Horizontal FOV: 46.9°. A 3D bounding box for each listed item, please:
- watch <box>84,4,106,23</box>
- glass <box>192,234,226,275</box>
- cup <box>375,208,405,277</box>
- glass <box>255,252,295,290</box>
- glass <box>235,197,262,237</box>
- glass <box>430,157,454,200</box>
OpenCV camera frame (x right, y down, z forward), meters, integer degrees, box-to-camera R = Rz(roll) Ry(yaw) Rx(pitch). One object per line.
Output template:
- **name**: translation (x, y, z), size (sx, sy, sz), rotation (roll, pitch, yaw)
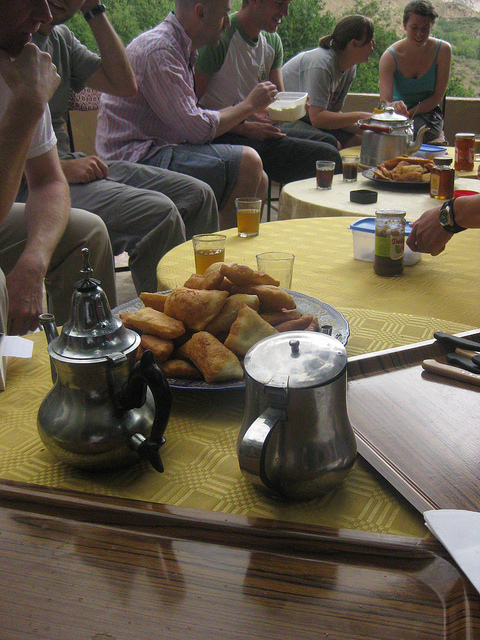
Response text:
- **watch**: translation (-0.689, -1.475, 2.676), size (0.088, 0.064, 0.099), rotation (-3, 21, 41)
- **glass**: translation (-0.070, -0.172, 1.411), size (0.100, 0.117, 0.107), rotation (2, 14, 7)
- **cup**: translation (0.370, -0.194, 1.376), size (0.077, 0.167, 0.079), rotation (-4, 22, 2)
- **glass**: translation (0.080, -0.117, 1.204), size (0.079, 0.090, 0.082), rotation (2, 25, 3)
- **glass**: translation (0.028, -0.320, 1.719), size (0.070, 0.108, 0.138), rotation (-1, 23, 0)
- **glass**: translation (0.760, -0.536, 2.077), size (0.088, 0.145, 0.094), rotation (-25, 30, -38)
